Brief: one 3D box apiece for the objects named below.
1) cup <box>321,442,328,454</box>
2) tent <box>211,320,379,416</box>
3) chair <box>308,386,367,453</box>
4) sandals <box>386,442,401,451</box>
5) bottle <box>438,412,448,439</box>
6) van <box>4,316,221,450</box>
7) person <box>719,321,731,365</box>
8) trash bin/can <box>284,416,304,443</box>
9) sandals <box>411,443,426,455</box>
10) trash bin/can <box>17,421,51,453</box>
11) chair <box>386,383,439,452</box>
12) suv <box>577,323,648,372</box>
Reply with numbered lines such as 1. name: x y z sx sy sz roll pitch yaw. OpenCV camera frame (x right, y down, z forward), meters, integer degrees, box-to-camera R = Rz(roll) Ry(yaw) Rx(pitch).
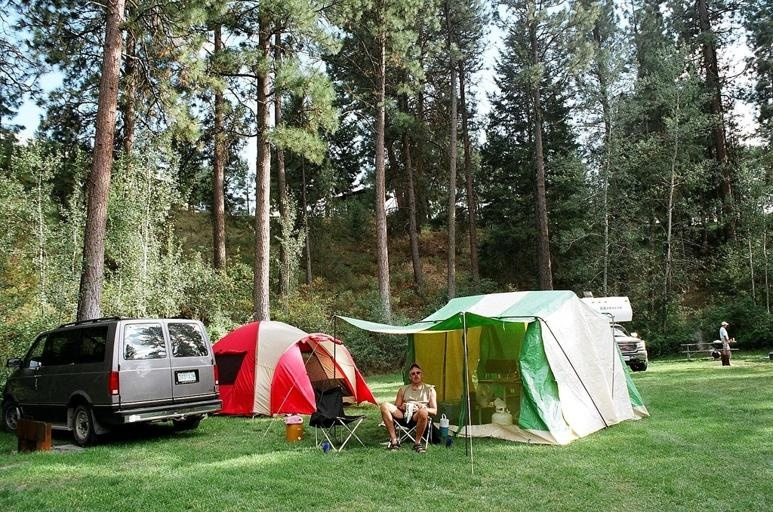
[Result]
1. cup: -1.501 4.716 16.568 0.206 0.309 0.165 -1 -3 -3
2. tent: -3.113 3.349 19.921 3.190 1.641 3.334 -3 -4 28
3. chair: -1.270 3.982 16.685 1.241 1.602 1.194 1 -12 -20
4. sandals: 0.154 4.642 16.459 0.323 0.159 0.218 4 12 21
5. bottle: 1.459 4.356 17.016 0.230 0.549 0.343 0 10 4
6. van: -7.131 3.090 17.264 5.511 3.210 1.772 1 10 8
7. person: 13.808 3.316 27.266 0.407 1.528 3.288 4 12 26
8. trash bin/can: -2.472 4.452 17.481 0.517 0.601 0.509 2 -4 -32
9. sandals: 0.822 4.660 16.338 0.279 0.142 0.291 0 11 2
10. trash bin/can: -8.756 4.473 16.662 0.643 0.717 0.266 0 -2 22
11. chair: 0.609 4.189 17.042 1.078 2.151 1.507 -9 -46 15
12. suv: 9.382 3.696 28.403 1.848 1.747 3.847 -1 -6 1
